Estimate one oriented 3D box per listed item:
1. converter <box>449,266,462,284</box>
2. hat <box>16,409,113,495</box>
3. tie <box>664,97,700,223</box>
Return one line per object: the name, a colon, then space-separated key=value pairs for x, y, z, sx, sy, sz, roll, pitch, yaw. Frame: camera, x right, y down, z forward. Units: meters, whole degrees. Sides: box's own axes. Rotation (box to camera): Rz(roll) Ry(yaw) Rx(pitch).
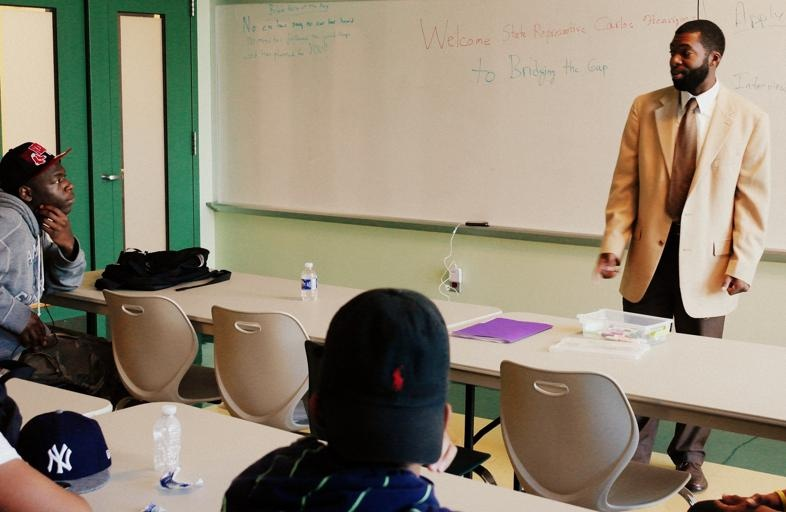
converter: x=0.495 y=0.147 z=4.927 sx=0.098 sy=0.130 sz=0.072 roll=15 pitch=23 yaw=38
hat: x=-0.911 y=0.524 z=1.705 sx=0.250 sy=0.104 sz=0.179 roll=33 pitch=22 yaw=24
tie: x=1.432 y=-0.476 z=3.051 sx=0.107 sy=0.592 sz=0.142 roll=9 pitch=17 yaw=22
